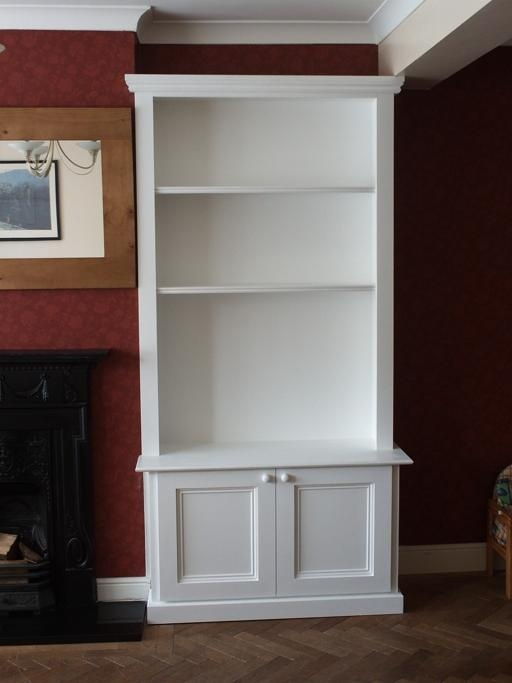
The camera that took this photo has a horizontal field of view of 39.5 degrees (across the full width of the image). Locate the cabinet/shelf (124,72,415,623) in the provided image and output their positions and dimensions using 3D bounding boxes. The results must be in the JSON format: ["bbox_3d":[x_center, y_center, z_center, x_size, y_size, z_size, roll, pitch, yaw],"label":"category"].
[{"bbox_3d":[0.052,0.033,2.998,1.131,2.253,0.397,-1,8,-4],"label":"cabinet/shelf"}]
